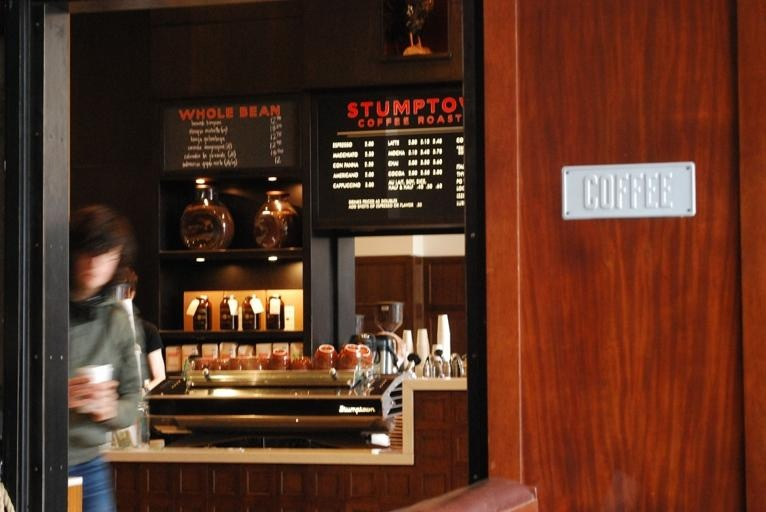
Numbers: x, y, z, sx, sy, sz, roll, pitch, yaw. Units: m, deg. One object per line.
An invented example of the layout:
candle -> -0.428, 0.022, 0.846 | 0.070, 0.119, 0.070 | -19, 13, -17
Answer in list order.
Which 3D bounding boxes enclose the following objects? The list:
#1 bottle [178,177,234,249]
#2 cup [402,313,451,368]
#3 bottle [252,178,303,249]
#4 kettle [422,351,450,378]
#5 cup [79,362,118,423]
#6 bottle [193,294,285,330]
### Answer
bottle -> -1.156, -0.214, 6.217 | 0.325, 0.516, 0.351 | -1, -14, 0
cup -> 0.291, 0.554, 6.196 | 0.280, 0.402, 0.264 | 1, -4, 0
bottle -> -0.681, -0.187, 6.181 | 0.295, 0.468, 0.322 | -1, -18, 0
kettle -> 0.311, 0.621, 5.450 | 0.145, 0.184, 0.120 | 0, -5, 4
cup -> -1.183, 0.569, 4.111 | 0.174, 0.330, 0.195 | -1, 4, -9
bottle -> -0.935, 0.363, 6.183 | 0.690, 0.236, 0.215 | -2, -2, 6
